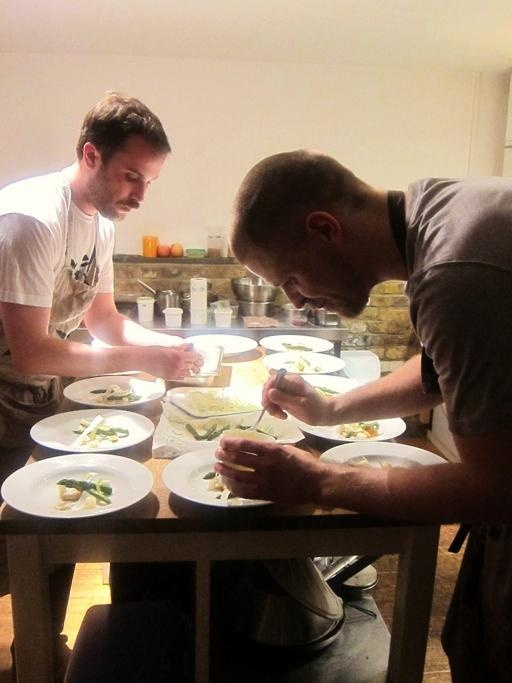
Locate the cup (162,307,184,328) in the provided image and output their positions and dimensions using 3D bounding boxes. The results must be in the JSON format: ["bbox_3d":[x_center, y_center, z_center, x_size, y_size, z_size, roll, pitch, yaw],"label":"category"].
[{"bbox_3d":[-0.479,-0.141,3.484,0.126,0.097,0.125,2,14,0],"label":"cup"}]

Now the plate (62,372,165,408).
[{"bbox_3d":[-0.427,0.158,1.799,0.292,0.049,0.294,-2,10,-17],"label":"plate"}]

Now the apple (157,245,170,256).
[{"bbox_3d":[-0.602,-0.601,3.902,0.082,0.070,0.075,6,26,2],"label":"apple"}]

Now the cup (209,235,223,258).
[{"bbox_3d":[-0.268,-0.644,3.972,0.150,0.149,0.141,0,2,0],"label":"cup"}]

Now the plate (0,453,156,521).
[{"bbox_3d":[-0.344,0.281,1.155,0.276,0.032,0.282,-1,10,-13],"label":"plate"}]

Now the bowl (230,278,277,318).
[{"bbox_3d":[-0.006,-0.288,3.883,0.286,0.180,0.274,0,14,0],"label":"bowl"}]

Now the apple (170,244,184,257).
[{"bbox_3d":[-0.518,-0.613,3.912,0.088,0.079,0.088,-22,26,-40],"label":"apple"}]

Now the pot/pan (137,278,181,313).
[{"bbox_3d":[-0.620,-0.298,3.803,0.290,0.104,0.209,32,32,26],"label":"pot/pan"}]

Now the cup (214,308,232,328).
[{"bbox_3d":[-0.187,-0.138,3.379,0.118,0.078,0.112,0,8,0],"label":"cup"}]
